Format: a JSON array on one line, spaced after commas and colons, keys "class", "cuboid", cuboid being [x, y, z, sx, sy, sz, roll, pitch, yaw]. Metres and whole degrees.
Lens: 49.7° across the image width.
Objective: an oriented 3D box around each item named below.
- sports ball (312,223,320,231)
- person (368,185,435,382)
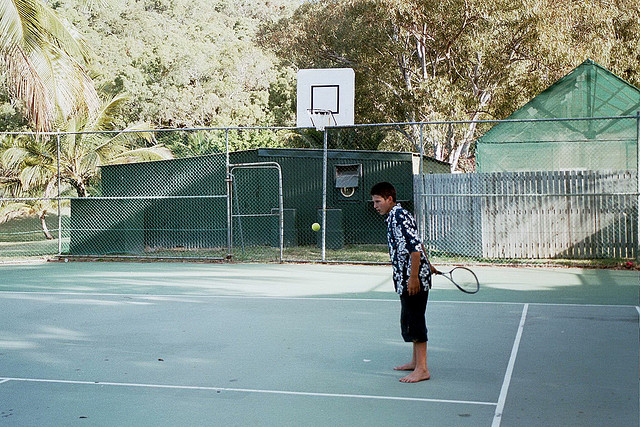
[{"class": "sports ball", "cuboid": [-0.148, 0.337, 19.272, 0.178, 0.182, 0.214, 26, -31, 12]}, {"class": "person", "cuboid": [1.166, 0.903, 9.787, 0.799, 2.629, 1.289, 0, 7, 8]}]
